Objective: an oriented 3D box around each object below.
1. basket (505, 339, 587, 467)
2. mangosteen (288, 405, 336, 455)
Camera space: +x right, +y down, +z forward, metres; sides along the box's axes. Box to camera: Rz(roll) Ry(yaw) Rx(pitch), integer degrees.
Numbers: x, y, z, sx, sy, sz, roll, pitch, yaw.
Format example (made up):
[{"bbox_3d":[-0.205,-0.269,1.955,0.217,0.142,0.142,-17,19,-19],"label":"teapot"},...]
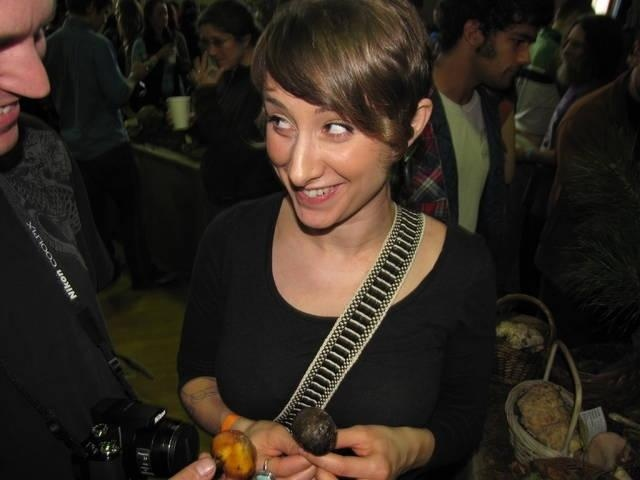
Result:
[{"bbox_3d":[1.494,1.096,3.669,0.381,0.731,0.542,4,47,-7],"label":"basket"},{"bbox_3d":[-0.025,0.643,1.916,0.137,0.152,0.123,12,24,25],"label":"mangosteen"}]
